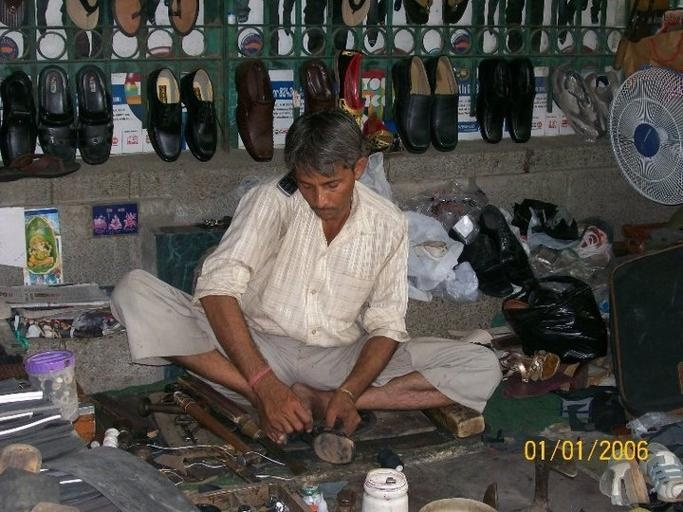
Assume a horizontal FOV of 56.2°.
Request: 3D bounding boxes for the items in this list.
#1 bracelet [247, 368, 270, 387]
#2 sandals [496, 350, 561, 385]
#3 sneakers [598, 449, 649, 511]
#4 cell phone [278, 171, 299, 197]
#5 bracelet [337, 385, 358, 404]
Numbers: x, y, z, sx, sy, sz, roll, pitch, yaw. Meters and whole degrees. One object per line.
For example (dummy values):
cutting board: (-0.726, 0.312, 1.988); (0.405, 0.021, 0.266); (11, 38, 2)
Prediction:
bracelet: (-0.389, 0.490, 2.610); (0.088, 0.026, 0.071); (-38, -2, 2)
sandals: (1.070, 0.614, 3.549); (0.229, 0.108, 0.221); (-8, 35, 24)
sneakers: (1.065, 0.805, 2.318); (0.080, 0.140, 0.241); (-2, 12, 31)
cell phone: (-0.279, -0.311, 2.778); (0.102, 0.094, 0.024); (-40, 8, -16)
bracelet: (-0.005, 0.586, 2.723); (0.030, 0.075, 0.057); (-42, 1, -24)
